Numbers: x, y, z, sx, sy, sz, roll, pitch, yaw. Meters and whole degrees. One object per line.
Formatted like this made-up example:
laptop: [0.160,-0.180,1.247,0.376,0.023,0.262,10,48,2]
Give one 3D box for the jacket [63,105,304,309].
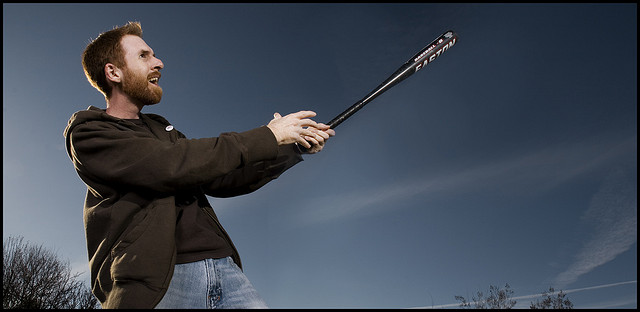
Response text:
jacket: [-2.370,0.668,7.128,2.988,3.317,0.940,-10,-15,-4]
